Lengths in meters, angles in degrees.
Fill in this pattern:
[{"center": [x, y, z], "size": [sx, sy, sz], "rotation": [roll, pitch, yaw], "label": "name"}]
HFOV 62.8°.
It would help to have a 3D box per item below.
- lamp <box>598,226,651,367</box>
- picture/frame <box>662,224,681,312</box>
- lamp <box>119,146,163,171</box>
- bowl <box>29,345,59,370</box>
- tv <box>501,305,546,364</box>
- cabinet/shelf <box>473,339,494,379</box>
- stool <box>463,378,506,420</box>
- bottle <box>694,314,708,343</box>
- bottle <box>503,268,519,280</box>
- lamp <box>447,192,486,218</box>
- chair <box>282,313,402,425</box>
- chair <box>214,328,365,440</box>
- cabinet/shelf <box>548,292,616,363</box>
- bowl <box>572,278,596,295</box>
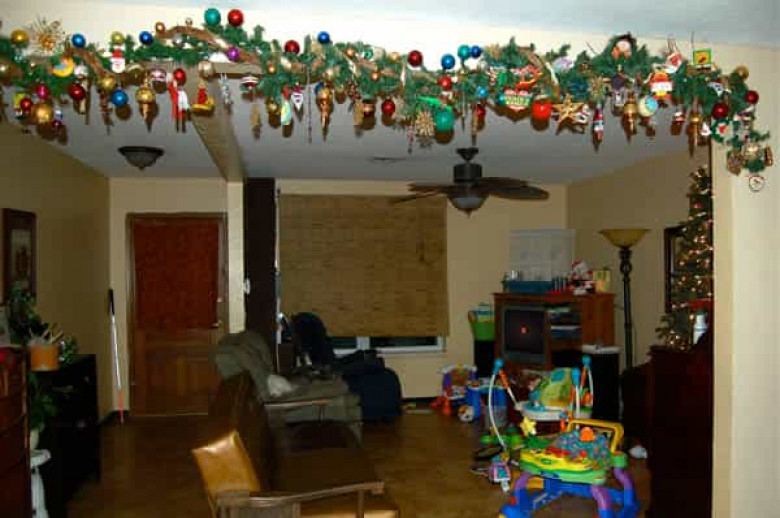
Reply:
[{"center": [2.547, 0.417, 6.814], "size": [0.464, 1.511, 0.756], "rotation": [-1, 0, 21], "label": "lamp"}, {"center": [2.855, 0.099, 6.424], "size": [0.148, 0.876, 0.249], "rotation": [-1, 1, 21], "label": "picture/frame"}, {"center": [-2.353, -0.964, 5.994], "size": [0.273, 0.136, 0.275], "rotation": [-1, -2, 2], "label": "lamp"}, {"center": [-2.760, 0.780, 5.123], "size": [0.190, 0.179, 0.184], "rotation": [1, -1, 0], "label": "bowl"}, {"center": [1.564, 0.876, 7.342], "size": [0.395, 0.730, 0.639], "rotation": [5, -7, -39], "label": "tv"}, {"center": [1.173, 1.220, 7.876], "size": [0.311, 0.471, 0.313], "rotation": [3, -6, -44], "label": "cabinet/shelf"}, {"center": [1.249, 1.570, 7.278], "size": [0.493, 0.371, 0.497], "rotation": [-8, 0, -23], "label": "stool"}, {"center": [2.246, 0.495, 4.602], "size": [0.094, 0.194, 0.235], "rotation": [-1, 0, 25], "label": "bottle"}, {"center": [1.546, 0.193, 8.059], "size": [0.155, 0.159, 0.288], "rotation": [3, 4, 32], "label": "bottle"}, {"center": [0.679, -0.490, 5.623], "size": [0.314, 0.214, 0.315], "rotation": [1, -2, -6], "label": "lamp"}, {"center": [-0.473, 1.185, 7.198], "size": [1.359, 1.236, 1.263], "rotation": [-2, -5, -37], "label": "chair"}, {"center": [-0.865, 1.160, 5.736], "size": [1.182, 1.023, 1.062], "rotation": [-8, 3, -12], "label": "chair"}, {"center": [2.296, 0.716, 7.190], "size": [0.374, 0.684, 0.404], "rotation": [-7, 4, -12], "label": "cabinet/shelf"}, {"center": [2.167, 0.308, 7.103], "size": [0.166, 0.155, 0.229], "rotation": [2, -1, 11], "label": "bowl"}]
